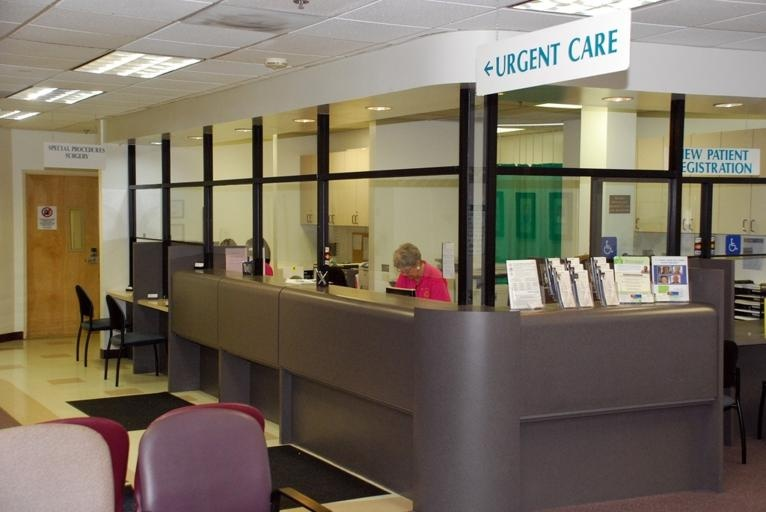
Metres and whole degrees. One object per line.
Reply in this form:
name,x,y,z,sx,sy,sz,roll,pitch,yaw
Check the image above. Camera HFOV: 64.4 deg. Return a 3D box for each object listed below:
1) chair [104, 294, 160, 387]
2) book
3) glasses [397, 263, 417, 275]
chair,-3.517,1.089,8.444,0.737,0.909,1.515,-2,1,-25
book,1.579,0.203,4.804,0.598,0.380,0.280,-2,1,-29
glasses,0.221,0.123,5.798,0.122,0.064,0.094,2,-10,-32
